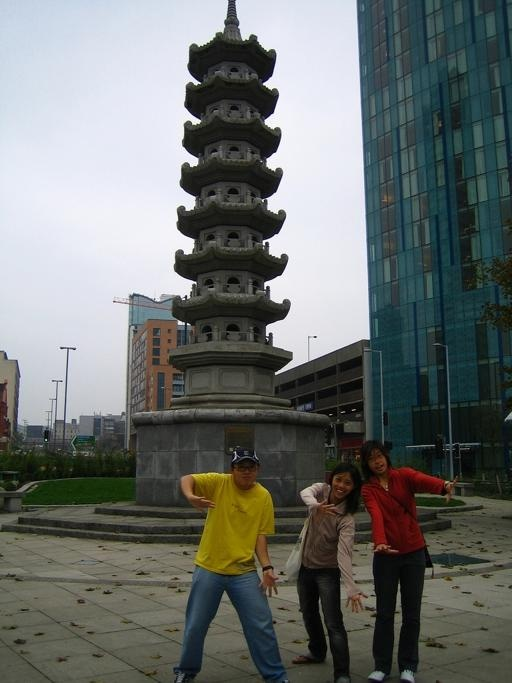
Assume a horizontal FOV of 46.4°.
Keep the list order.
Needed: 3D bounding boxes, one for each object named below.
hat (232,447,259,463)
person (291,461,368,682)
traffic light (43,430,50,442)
[{"bbox_3d":[-0.082,0.811,4.265,0.138,0.106,0.193,2,-13,-5],"label":"hat"},{"bbox_3d":[0.588,1.775,4.635,0.517,1.633,1.024,0,-8,-6],"label":"person"},{"bbox_3d":[-15.342,6.898,43.663,0.235,0.879,1.243,3,-9,-24],"label":"traffic light"}]
